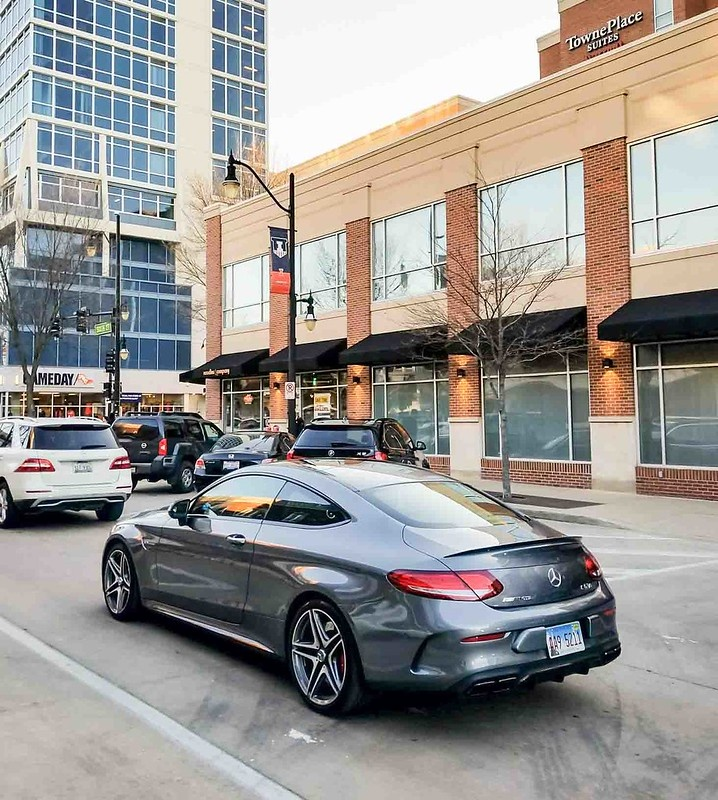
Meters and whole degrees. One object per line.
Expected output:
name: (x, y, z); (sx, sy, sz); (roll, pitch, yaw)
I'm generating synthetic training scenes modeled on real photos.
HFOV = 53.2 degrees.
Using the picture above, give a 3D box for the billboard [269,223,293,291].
billboard: (-2.222, -3.949, 20.231); (0.546, 1.972, 0.878); (1, -2, -7)

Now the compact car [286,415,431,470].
compact car: (0.261, 0.792, 13.940); (1.208, 0.847, 2.540); (0, -1, 22)

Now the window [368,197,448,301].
window: (1.667, -4.776, 22.857); (0.197, 2.886, 4.168); (-1, 2, -35)

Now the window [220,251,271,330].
window: (-4.732, -4.586, 30.374); (0.142, 2.777, 4.055); (2, -2, -37)

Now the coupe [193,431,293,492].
coupe: (-2.282, 1.277, 15.991); (1.768, 1.162, 3.814); (1, 0, 6)

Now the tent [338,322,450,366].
tent: (1.208, -1.702, 21.646); (1.772, 0.967, 4.383); (2, -3, -27)

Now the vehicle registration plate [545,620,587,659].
vehicle registration plate: (1.113, 1.303, 3.878); (0.282, 0.178, 0.038); (-6, -11, -36)

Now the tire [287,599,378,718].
tire: (-0.148, 1.499, 4.228); (0.244, 0.659, 0.704); (7, -24, -35)

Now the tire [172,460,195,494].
tire: (-4.170, 1.806, 16.904); (0.257, 0.669, 0.713); (-5, 16, 32)

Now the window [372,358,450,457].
window: (1.644, 0.198, 20.572); (0.133, 2.910, 3.268); (2, 0, -42)

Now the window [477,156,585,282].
window: (4.711, -4.782, 19.071); (0.163, 3.099, 4.555); (0, -1, -43)

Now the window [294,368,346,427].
window: (-1.239, -0.150, 23.846); (2.107, 1.786, 0.090); (-5, -11, 45)

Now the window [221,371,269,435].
window: (-4.762, 0.399, 30.513); (3.863, 2.521, 0.081); (-2, -1, 45)

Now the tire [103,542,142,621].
tire: (-2.029, 1.578, 6.180); (0.164, 0.503, 0.576); (5, -34, -32)

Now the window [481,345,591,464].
window: (4.359, 0.248, 18.951); (3.296, 2.903, 0.048); (-10, 12, -36)
